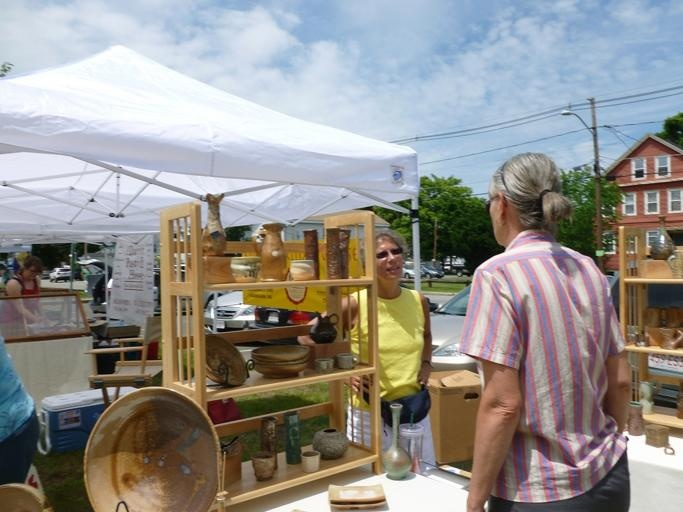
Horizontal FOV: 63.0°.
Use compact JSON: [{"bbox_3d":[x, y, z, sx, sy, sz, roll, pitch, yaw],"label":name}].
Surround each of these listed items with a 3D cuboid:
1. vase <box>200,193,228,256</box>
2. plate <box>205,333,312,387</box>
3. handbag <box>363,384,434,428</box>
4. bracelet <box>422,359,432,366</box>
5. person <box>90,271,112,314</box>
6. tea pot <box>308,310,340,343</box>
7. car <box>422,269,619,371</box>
[{"bbox_3d":[-0.728,-0.185,3.218,0.186,0.342,0.231,14,1,-11],"label":"vase"},{"bbox_3d":[-0.503,0.606,3.296,0.541,0.129,0.328,-3,-1,0],"label":"plate"},{"bbox_3d":[0.386,1.032,3.858,0.399,0.142,0.289,-7,-5,41],"label":"handbag"},{"bbox_3d":[0.631,0.779,4.113,0.114,0.037,0.125,1,-1,0],"label":"bracelet"},{"bbox_3d":[-5.543,0.828,12.737,0.245,0.889,0.878,15,0,-35],"label":"person"},{"bbox_3d":[-0.113,0.481,3.734,0.221,0.153,0.209,2,-5,0],"label":"tea pot"},{"bbox_3d":[1.995,0.846,7.718,2.901,0.943,1.513,3,-6,-28],"label":"car"}]
